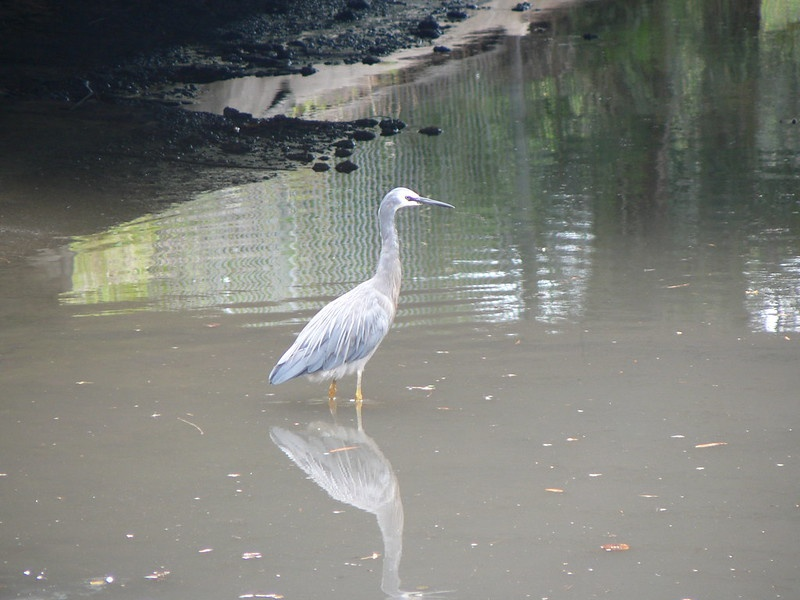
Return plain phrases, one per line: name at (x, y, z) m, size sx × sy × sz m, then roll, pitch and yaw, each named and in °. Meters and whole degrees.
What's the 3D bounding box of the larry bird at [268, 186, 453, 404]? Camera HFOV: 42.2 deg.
larry bird at (-0.489, -0.121, 9.352) m, size 2.095 × 1.734 × 1.811 m, roll -7°, pitch 13°, yaw -12°
